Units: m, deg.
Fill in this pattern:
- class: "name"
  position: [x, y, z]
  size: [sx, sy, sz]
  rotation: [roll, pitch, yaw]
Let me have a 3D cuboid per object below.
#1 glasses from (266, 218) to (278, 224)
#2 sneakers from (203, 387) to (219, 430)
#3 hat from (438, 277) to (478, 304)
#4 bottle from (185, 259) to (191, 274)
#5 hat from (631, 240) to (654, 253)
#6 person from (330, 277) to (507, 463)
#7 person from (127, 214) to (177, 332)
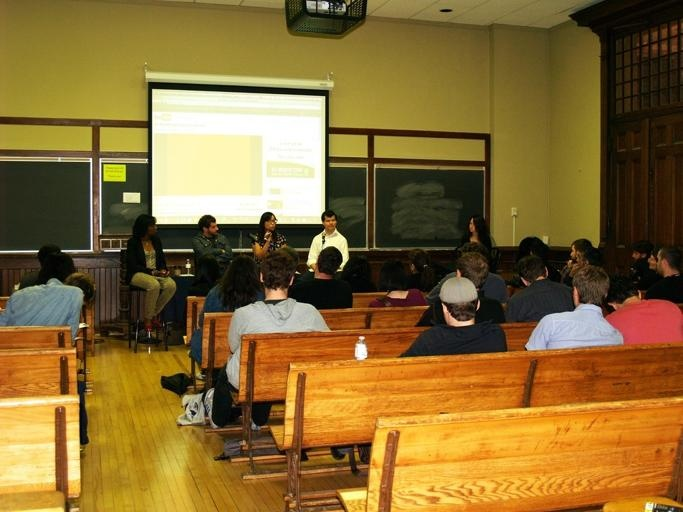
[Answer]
- class: "glasses"
  position: [-1.062, -0.527, 8.461]
  size: [0.152, 0.048, 0.154]
  rotation: [-6, -5, 33]
- class: "sneakers"
  position: [-1.090, 1.215, 4.611]
  size: [0.113, 0.344, 0.246]
  rotation: [-5, -4, -19]
- class: "hat"
  position: [0.617, 0.180, 2.972]
  size: [0.183, 0.134, 0.115]
  rotation: [-1, 3, 9]
- class: "bottle"
  position: [-2.612, 0.170, 9.542]
  size: [0.101, 0.265, 0.355]
  rotation: [-2, 3, -11]
- class: "hat"
  position: [3.987, -0.123, 7.443]
  size: [0.221, 0.201, 0.181]
  rotation: [15, 11, 23]
- class: "person"
  position: [0.308, 0.493, 3.069]
  size: [0.633, 1.107, 0.387]
  rotation: [-3, 33, -3]
- class: "person"
  position: [-2.830, 0.254, 8.325]
  size: [0.704, 1.710, 0.726]
  rotation: [-2, 3, -10]
